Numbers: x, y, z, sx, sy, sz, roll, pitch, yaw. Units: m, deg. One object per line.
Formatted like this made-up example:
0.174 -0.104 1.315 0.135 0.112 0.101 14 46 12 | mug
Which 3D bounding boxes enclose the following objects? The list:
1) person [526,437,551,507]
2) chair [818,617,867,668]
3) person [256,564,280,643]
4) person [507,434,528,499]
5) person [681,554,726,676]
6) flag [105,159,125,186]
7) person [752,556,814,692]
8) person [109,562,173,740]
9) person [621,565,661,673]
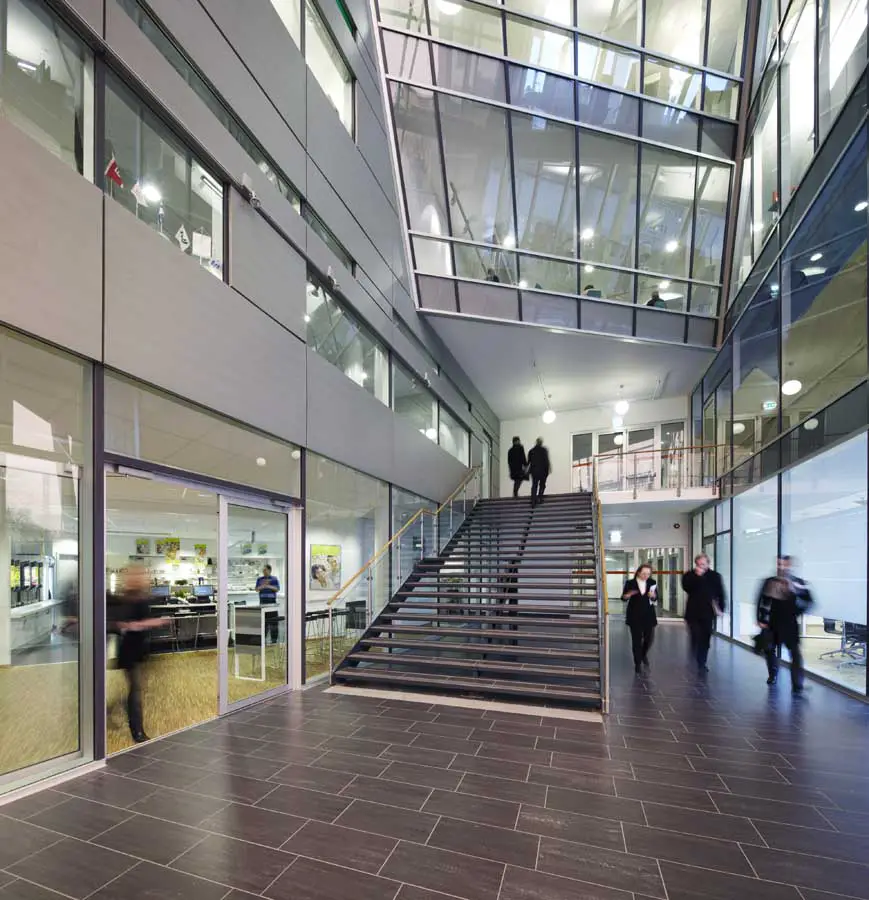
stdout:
2.433 0.500 15.301 0.494 1.598 1.568 0 -5 8 | person
4.746 2.276 7.622 0.441 0.677 0.455 -3 -8 44 | chair
-1.879 1.758 7.366 0.110 0.890 0.469 0 -5 9 | person
2.043 0.394 16.133 0.477 1.619 1.859 0 -5 7 | person
3.484 2.169 8.466 0.474 1.540 0.393 -2 -5 26 | person
-2.639 -2.283 5.380 0.037 0.150 0.131 12 13 -13 | flag
4.137 2.044 7.769 0.453 1.693 0.556 -16 16 -40 | person
-2.549 1.733 5.517 0.143 1.528 0.534 -2 -5 33 | person
2.849 2.327 9.140 0.468 1.441 1.171 -1 -5 23 | person
